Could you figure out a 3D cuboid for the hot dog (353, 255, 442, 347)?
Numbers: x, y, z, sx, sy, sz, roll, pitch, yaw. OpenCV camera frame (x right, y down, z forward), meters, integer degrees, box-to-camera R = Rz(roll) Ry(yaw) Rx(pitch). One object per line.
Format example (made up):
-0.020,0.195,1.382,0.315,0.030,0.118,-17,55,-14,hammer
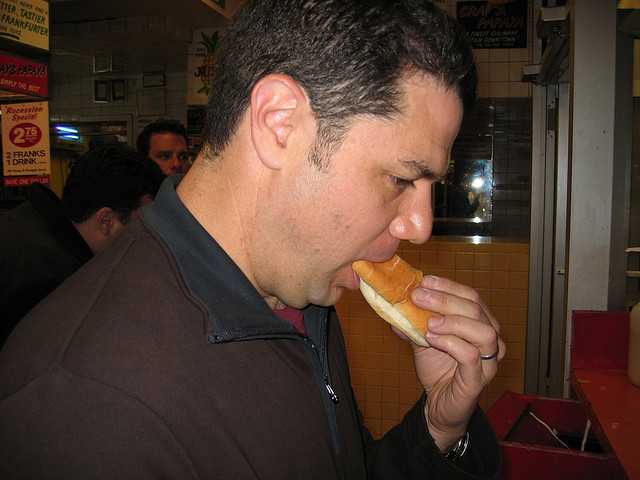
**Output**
0.306,0.214,2.070,0.128,0.457,0.242,-36,7,37,hot dog
